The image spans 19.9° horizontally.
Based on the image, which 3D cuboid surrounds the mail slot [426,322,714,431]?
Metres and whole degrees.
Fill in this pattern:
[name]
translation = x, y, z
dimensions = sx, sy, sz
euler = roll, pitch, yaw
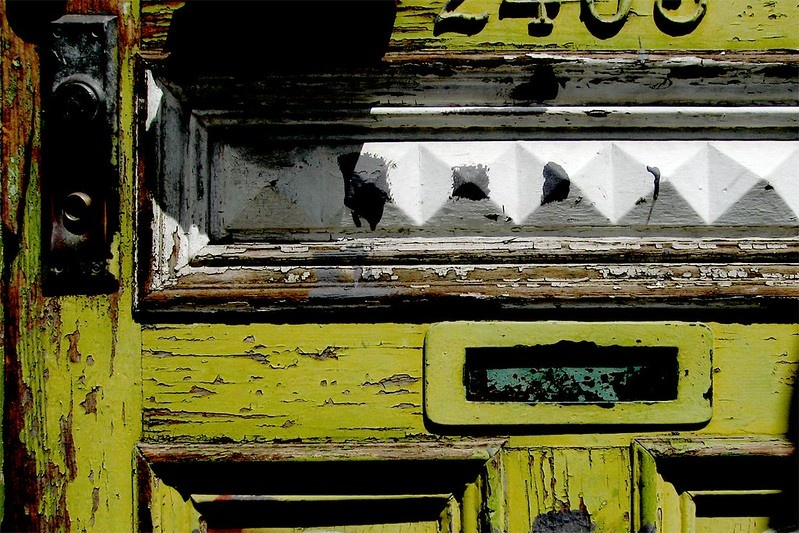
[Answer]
[mail slot]
translation = 0.464, 0.285, 5.869
dimensions = 0.808, 0.371, 0.267
euler = 1, -72, -9
